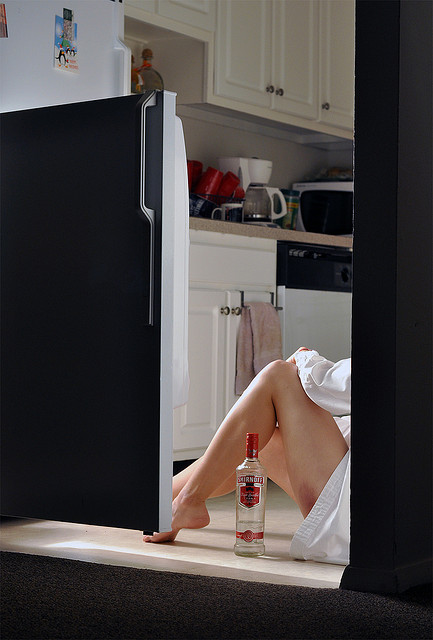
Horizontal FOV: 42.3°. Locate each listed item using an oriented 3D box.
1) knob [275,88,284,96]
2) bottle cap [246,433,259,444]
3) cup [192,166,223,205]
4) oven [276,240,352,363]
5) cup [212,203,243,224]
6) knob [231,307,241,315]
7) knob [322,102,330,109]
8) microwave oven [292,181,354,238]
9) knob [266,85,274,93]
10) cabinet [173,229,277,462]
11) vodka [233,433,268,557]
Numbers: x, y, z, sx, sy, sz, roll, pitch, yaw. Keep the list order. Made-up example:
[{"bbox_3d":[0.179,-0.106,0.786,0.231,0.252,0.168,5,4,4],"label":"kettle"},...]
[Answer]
[{"bbox_3d":[0.353,-1.270,3.120,0.019,0.042,0.072,6,10,35],"label":"knob"},{"bbox_3d":[0.083,0.273,1.294,0.022,0.024,0.024,1,3,-1],"label":"bottle cap"},{"bbox_3d":[-0.042,-0.668,2.764,0.148,0.199,0.373,0,9,-2],"label":"cup"},{"bbox_3d":[0.542,0.043,2.924,0.395,0.566,0.302,0,-27,7],"label":"oven"},{"bbox_3d":[0.059,-0.530,2.770,0.077,0.092,0.356,4,10,28],"label":"cup"},{"bbox_3d":[0.086,-0.038,2.428,0.038,0.024,0.023,-2,-10,-11],"label":"knob"},{"bbox_3d":[0.660,-1.297,3.396,0.031,0.044,0.013,4,-3,2],"label":"knob"},{"bbox_3d":[0.636,-0.713,3.585,0.218,0.340,0.430,-8,12,-44],"label":"microwave oven"},{"bbox_3d":[0.293,-1.266,3.067,0.048,0.039,0.015,-6,10,-34],"label":"knob"},{"bbox_3d":[0.018,0.083,2.415,0.381,0.917,0.313,9,11,42],"label":"cabinet"},{"bbox_3d":[0.079,0.410,1.343,0.087,0.270,0.102,9,10,18],"label":"vodka"}]
